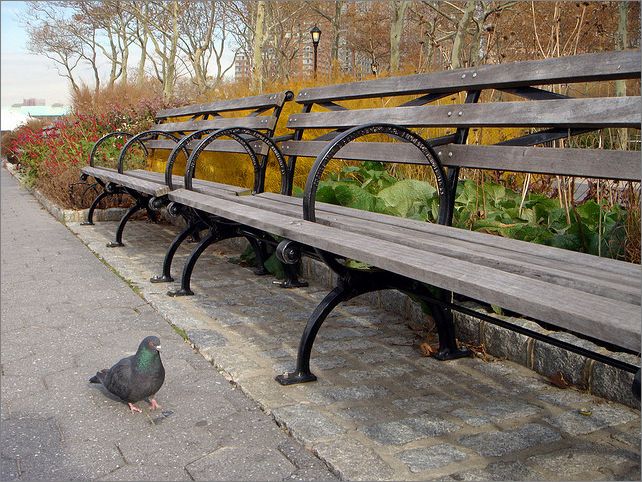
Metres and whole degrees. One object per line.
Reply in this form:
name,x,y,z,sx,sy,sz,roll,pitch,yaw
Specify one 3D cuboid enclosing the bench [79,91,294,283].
bench,-1.474,-0.544,5.317,1.884,1.711,3.690,-6,10,-36
